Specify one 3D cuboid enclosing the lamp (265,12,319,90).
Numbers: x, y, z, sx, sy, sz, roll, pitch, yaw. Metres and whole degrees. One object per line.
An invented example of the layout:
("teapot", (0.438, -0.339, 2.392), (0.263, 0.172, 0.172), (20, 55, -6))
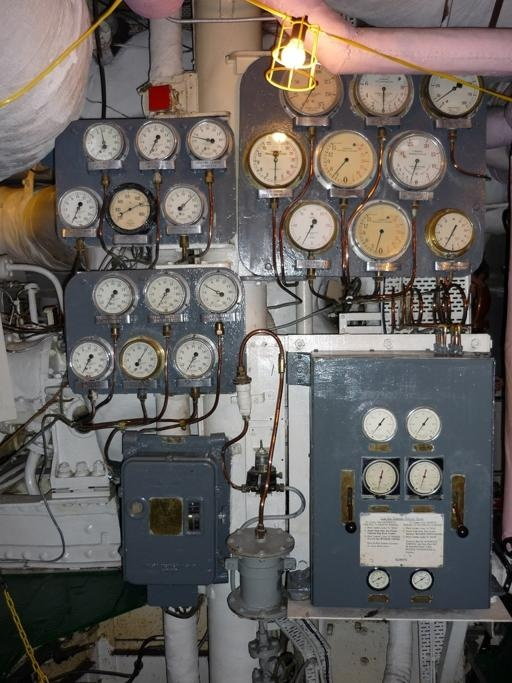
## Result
("lamp", (0.161, -1.163, 2.807), (0.181, 0.168, 0.266), (-22, -39, -28))
